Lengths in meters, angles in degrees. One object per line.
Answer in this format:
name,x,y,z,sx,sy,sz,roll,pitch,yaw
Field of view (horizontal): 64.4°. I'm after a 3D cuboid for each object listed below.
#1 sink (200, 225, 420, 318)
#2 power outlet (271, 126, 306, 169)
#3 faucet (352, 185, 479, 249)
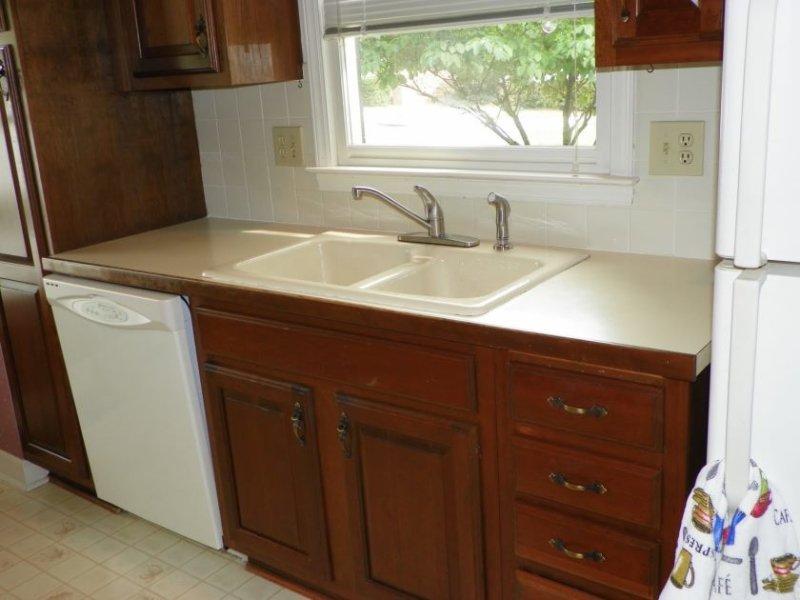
sink,-0.295,-0.104,2.033,0.366,0.232,0.374,13,26,31
power outlet,-0.431,-0.587,2.432,0.124,0.147,0.018,5,12,24
faucet,0.002,-0.262,2.014,0.351,0.202,0.343,-5,7,-31
